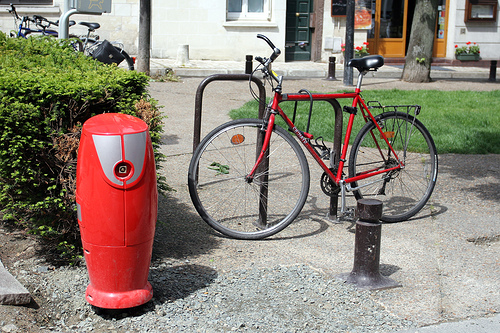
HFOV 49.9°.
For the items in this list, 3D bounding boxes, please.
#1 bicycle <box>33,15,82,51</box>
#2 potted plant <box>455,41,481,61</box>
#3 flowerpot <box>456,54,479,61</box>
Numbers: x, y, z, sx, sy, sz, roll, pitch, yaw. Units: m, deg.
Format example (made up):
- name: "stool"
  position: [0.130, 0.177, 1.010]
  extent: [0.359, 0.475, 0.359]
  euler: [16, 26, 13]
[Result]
- name: "bicycle"
  position: [-5.332, -3.540, 14.589]
  extent: [1.624, 1.010, 1.000]
  euler: [-10, 19, -20]
- name: "potted plant"
  position: [9.157, -4.724, 22.462]
  extent: [0.952, 0.622, 0.629]
  euler: [2, 7, 30]
- name: "flowerpot"
  position: [8.999, -4.522, 22.286]
  extent: [1.014, 0.261, 0.120]
  euler: [-3, 14, -11]
